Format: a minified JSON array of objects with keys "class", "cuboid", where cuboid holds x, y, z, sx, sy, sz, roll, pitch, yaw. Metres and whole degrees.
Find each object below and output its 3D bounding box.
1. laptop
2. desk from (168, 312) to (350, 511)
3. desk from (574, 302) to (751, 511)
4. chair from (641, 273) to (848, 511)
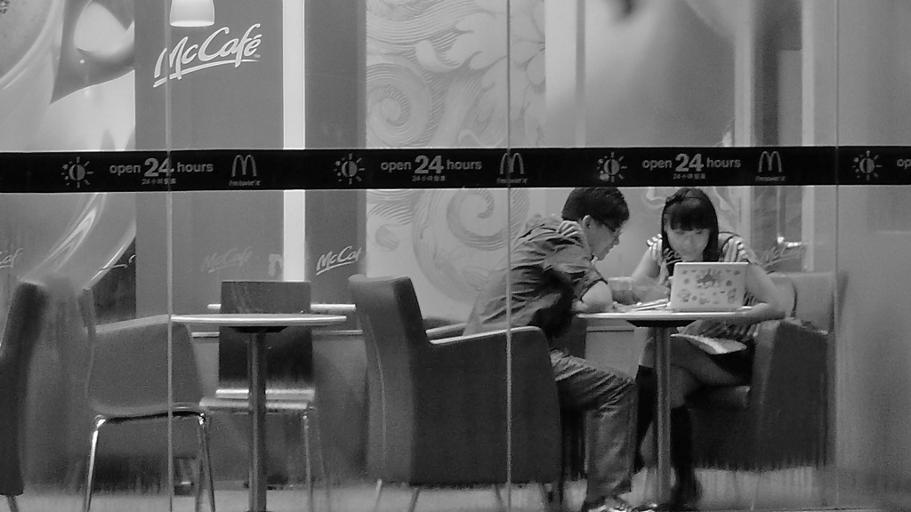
[{"class":"laptop","cuboid":[1.633,0.211,9.228,0.480,0.307,0.335,1,5,-2]},{"class":"desk","cuboid":[-1.277,1.033,9.632,1.285,1.313,1.317,4,-7,-38]},{"class":"desk","cuboid":[1.359,1.042,9.227,1.284,1.334,1.230,-1,-1,10]},{"class":"chair","cuboid":[1.881,1.068,10.161,1.523,1.857,1.544,-9,-15,43]}]
